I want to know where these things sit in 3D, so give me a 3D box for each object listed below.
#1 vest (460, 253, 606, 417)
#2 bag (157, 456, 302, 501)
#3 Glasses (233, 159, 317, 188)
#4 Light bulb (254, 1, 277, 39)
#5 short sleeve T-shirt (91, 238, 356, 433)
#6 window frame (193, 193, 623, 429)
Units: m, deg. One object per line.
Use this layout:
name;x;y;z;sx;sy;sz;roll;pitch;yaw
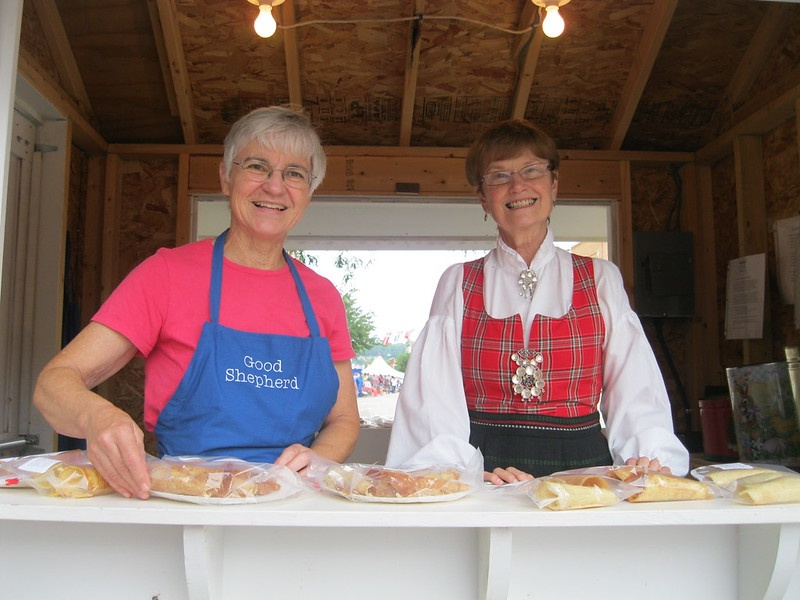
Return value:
vest;0.459;0.127;2.081;0.509;0.550;0.359;-3;0;28
bag;-0.357;0.361;1.237;0.191;0.032;0.113;4;-6;12
Glasses;-0.359;-0.364;1.777;0.132;0.032;0.118;8;-13;-12
Light bulb;-0.704;-1.460;3.224;0.094;0.205;0.189;-1;-12;-13
short sleeve T-shirt;-0.497;0.094;1.872;0.874;0.512;0.420;5;5;-32
window frame;0.435;0.326;6.628;2.417;2.326;3.972;-3;3;-16
